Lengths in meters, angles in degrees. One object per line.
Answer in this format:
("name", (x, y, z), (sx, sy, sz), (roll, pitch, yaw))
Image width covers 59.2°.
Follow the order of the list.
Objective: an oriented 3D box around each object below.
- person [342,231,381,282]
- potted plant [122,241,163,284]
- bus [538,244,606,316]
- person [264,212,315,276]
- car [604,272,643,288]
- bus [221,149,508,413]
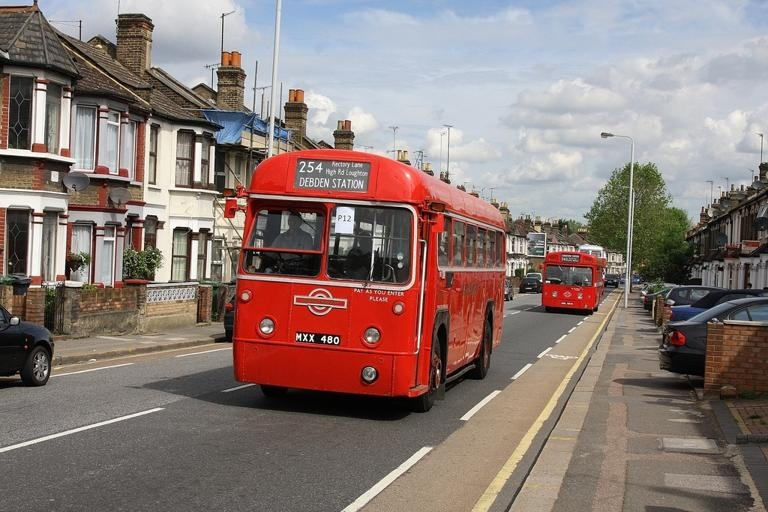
("person", (-0.393, 0.008, 12.221), (0.575, 0.871, 0.222), (2, 3, 8))
("potted plant", (-10.622, 0.293, 29.611), (1.535, 1.403, 1.695), (0, 2, -21))
("bus", (11.758, 1.566, 42.855), (3.283, 3.593, 1.539), (-1, -1, 0))
("person", (-1.715, -0.184, 12.451), (1.172, 1.142, 0.280), (0, -2, 17))
("car", (40.645, 4.145, 114.628), (2.275, 2.392, 7.331), (1, 3, 30))
("bus", (-0.366, 0.717, 13.155), (2.488, 2.970, 6.120), (0, -3, 19))
